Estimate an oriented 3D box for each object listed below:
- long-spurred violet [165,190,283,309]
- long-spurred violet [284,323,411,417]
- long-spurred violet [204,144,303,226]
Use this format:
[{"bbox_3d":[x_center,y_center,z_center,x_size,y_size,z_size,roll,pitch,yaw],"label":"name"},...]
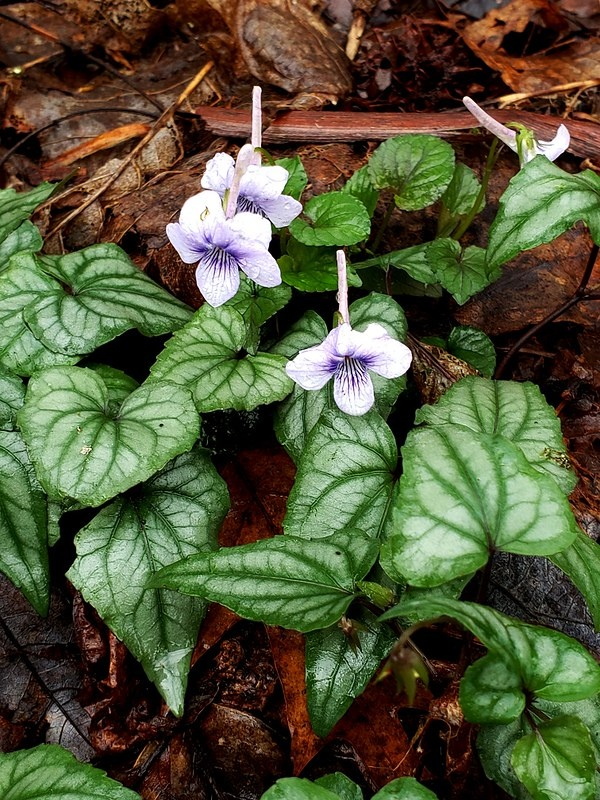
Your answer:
[{"bbox_3d":[-0.206,-0.415,2.260,0.330,0.318,0.160,32,52,1],"label":"long-spurred violet"},{"bbox_3d":[0.133,-0.094,2.080,0.319,0.267,0.121,1,29,0],"label":"long-spurred violet"},{"bbox_3d":[-0.145,-0.642,2.272,0.253,0.085,0.267,2,-3,38],"label":"long-spurred violet"}]
